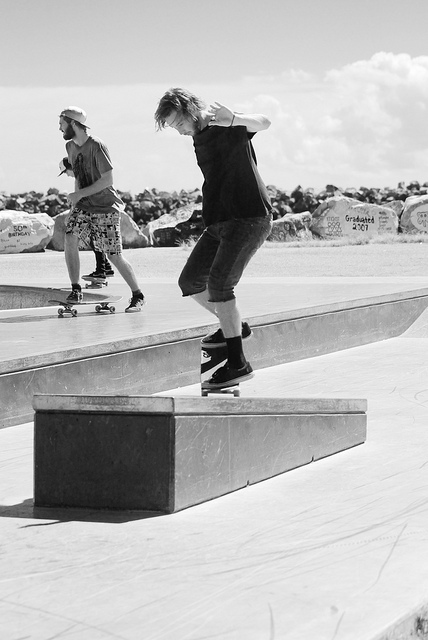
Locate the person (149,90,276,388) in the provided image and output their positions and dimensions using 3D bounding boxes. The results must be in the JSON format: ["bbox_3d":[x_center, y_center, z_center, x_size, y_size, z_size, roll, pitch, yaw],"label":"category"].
[{"bbox_3d":[0.018,-0.291,3.285,0.359,1.048,0.360,1,6,21],"label":"person"}]

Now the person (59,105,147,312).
[{"bbox_3d":[-0.731,-0.695,5.468,0.625,1.279,0.552,1,6,23],"label":"person"}]

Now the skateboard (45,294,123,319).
[{"bbox_3d":[-0.807,-0.098,5.841,0.218,0.150,0.861,12,9,34],"label":"skateboard"}]

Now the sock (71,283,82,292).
[{"bbox_3d":[-0.851,-0.205,5.614,0.046,0.066,0.042,6,9,33],"label":"sock"}]
